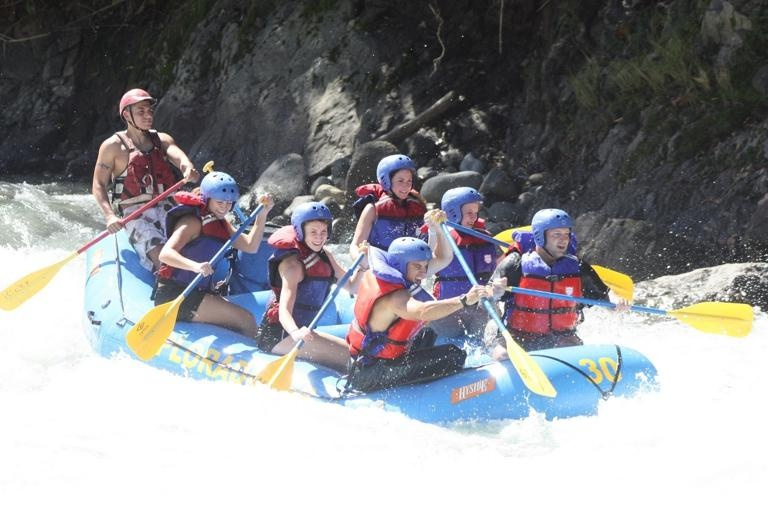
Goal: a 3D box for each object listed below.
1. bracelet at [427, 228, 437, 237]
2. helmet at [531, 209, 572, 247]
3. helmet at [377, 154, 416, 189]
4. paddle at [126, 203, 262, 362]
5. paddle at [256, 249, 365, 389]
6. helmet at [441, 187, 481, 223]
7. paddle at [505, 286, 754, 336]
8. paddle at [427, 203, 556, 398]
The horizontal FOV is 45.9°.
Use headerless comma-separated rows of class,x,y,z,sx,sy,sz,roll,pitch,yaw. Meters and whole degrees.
bracelet,0.523,-0.261,10.034,0.053,0.075,0.059,-3,-30,-1
helmet,1.789,-0.305,9.689,0.425,0.383,0.359,-7,-7,35
helmet,0.112,-1.017,10.660,0.347,0.356,0.455,5,-22,-43
paddle,-2.231,0.318,10.295,0.428,2.215,0.103,45,-21,4
paddle,-0.789,0.722,9.756,0.452,2.105,0.090,34,-34,9
helmet,0.841,-0.582,10.260,0.444,0.348,0.344,-2,-1,9
paddle,2.712,0.621,10.057,2.787,0.388,0.121,8,-25,3
paddle,1.118,0.542,9.654,0.274,0.227,2.610,-8,47,-21
